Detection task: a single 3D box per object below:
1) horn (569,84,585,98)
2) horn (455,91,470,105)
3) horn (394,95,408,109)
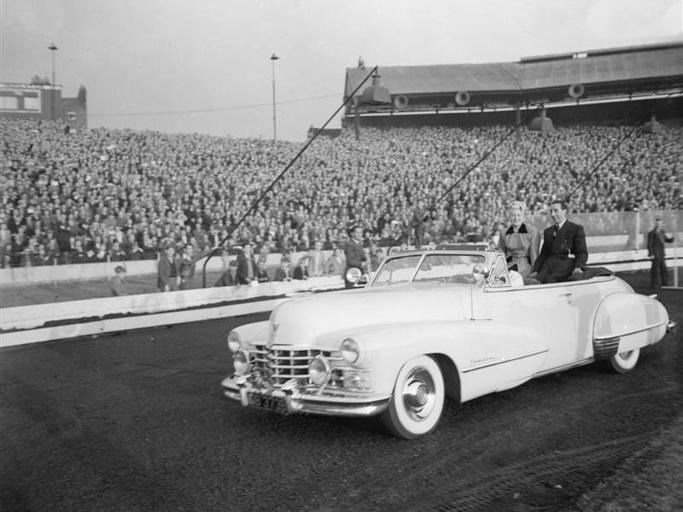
[{"bbox_3d":[6.981,-4.903,20.869,0.525,0.441,0.226,-2,11,3],"label":"horn"},{"bbox_3d":[3.450,-4.481,19.949,0.532,0.390,0.128,-10,13,-33],"label":"horn"},{"bbox_3d":[1.597,-4.149,18.906,0.155,0.355,0.467,8,15,42],"label":"horn"}]
